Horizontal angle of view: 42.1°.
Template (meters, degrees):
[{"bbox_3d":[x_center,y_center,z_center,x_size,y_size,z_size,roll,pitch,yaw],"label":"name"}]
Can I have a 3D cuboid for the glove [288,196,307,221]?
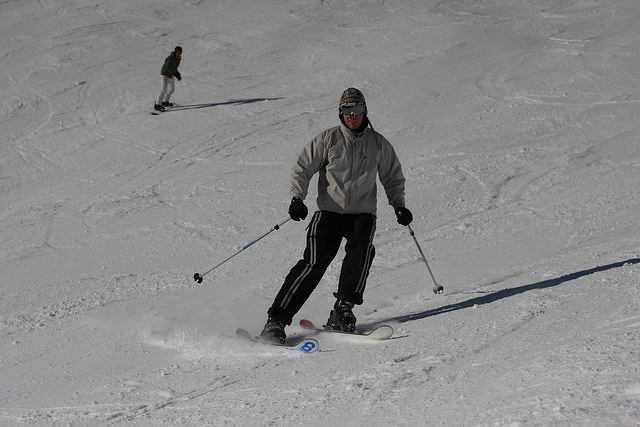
[{"bbox_3d":[-0.316,-0.050,11.037,0.124,0.270,0.255,11,26,42],"label":"glove"}]

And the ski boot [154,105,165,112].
[{"bbox_3d":[-3.676,-2.390,18.901,0.262,0.116,0.093,0,53,-5],"label":"ski boot"}]

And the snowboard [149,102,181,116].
[{"bbox_3d":[-3.602,-2.409,19.046,0.343,0.113,0.849,14,40,34],"label":"snowboard"}]
